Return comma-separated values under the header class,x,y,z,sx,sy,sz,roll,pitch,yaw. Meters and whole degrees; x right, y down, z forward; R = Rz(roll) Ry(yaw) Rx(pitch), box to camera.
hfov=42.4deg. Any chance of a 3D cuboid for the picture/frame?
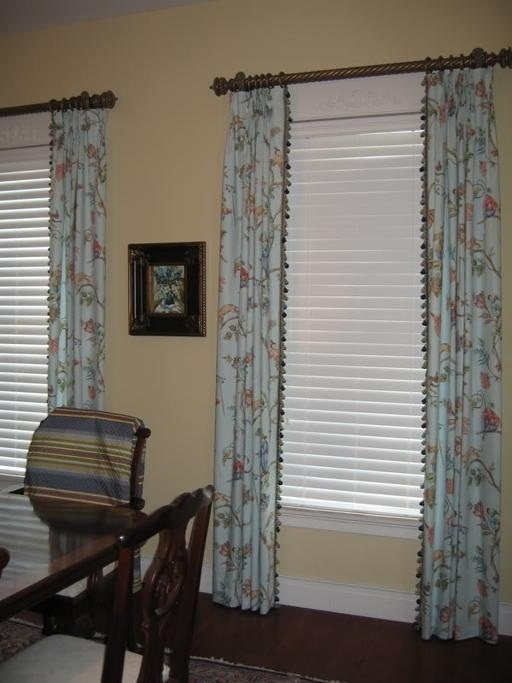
class,x,y,z,sx,sy,sz,roll,pitch,yaw
picture/frame,-0.443,-0.256,3.305,0.383,0.523,0.032,-2,32,-13
